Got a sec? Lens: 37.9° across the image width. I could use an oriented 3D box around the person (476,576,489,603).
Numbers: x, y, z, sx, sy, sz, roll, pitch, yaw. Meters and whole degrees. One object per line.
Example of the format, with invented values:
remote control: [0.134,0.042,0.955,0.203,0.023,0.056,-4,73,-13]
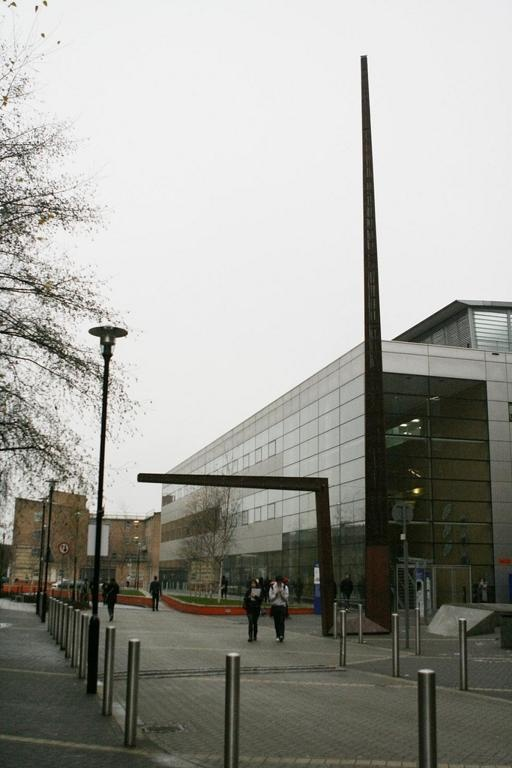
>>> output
person: [10.080,9.185,33.103,0.657,0.964,0.328,9,-8,-31]
